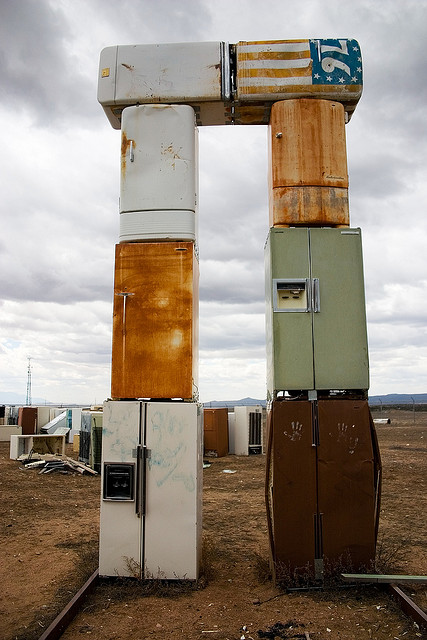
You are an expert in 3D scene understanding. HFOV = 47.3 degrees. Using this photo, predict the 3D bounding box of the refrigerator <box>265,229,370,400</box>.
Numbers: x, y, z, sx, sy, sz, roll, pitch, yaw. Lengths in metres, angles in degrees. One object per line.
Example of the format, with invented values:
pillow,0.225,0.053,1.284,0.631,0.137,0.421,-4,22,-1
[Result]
refrigerator,1.137,0.358,5.440,1.010,1.269,2.243,0,45,10

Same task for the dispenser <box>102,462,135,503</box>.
dispenser,-0.946,1.713,4.850,0.329,0.262,0.475,4,36,-14

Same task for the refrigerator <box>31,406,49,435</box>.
refrigerator,-8.692,5.089,24.436,0.739,1.932,0.868,-1,-6,0

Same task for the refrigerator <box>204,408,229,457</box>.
refrigerator,0.025,4.443,19.423,0.843,1.972,0.976,-4,-7,36

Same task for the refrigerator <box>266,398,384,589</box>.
refrigerator,1.124,1.317,5.217,1.131,2.373,1.289,-3,30,8

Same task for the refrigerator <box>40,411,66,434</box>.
refrigerator,-7.594,4.950,23.300,0.690,0.826,1.605,-2,-7,13

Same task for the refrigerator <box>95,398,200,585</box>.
refrigerator,-0.684,1.448,5.158,0.910,2.190,0.917,2,28,-8

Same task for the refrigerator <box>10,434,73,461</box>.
refrigerator,-5.697,4.247,16.242,1.369,0.856,2.980,6,-9,-40

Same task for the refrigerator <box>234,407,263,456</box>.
refrigerator,1.484,4.474,20.031,0.924,2.084,0.984,4,-7,-21
